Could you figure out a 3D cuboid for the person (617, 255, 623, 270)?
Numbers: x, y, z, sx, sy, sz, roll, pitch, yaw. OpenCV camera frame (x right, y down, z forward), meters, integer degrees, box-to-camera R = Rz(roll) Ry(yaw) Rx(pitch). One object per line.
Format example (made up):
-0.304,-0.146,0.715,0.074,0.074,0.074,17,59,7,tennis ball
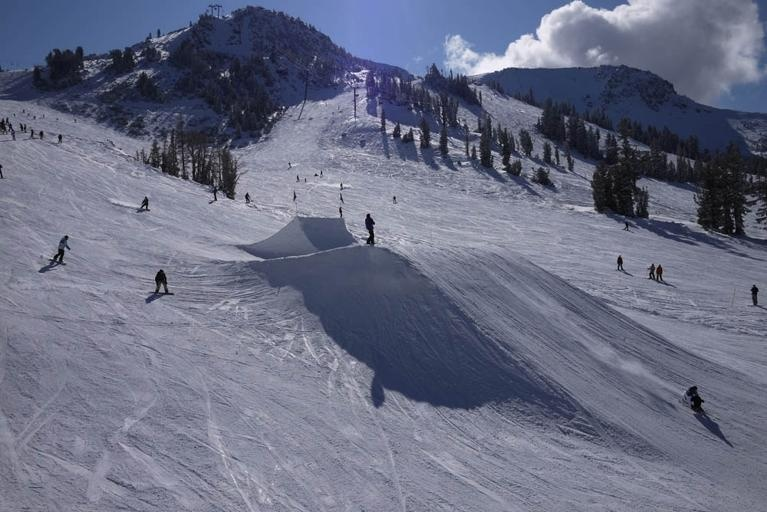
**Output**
24.228,0.617,84.373,0.667,1.244,1.829,7,4,14,person

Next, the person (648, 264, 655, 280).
27.039,1.484,83.103,0.634,1.344,1.457,7,4,15,person

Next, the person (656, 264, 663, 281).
27.737,1.637,82.877,0.770,1.429,1.580,8,4,17,person

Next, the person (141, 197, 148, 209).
-24.085,-5.415,83.340,0.670,1.326,2.039,5,4,-16,person

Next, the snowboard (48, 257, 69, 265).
-29.256,0.427,74.087,1.425,0.535,0.422,6,4,-18,snowboard
